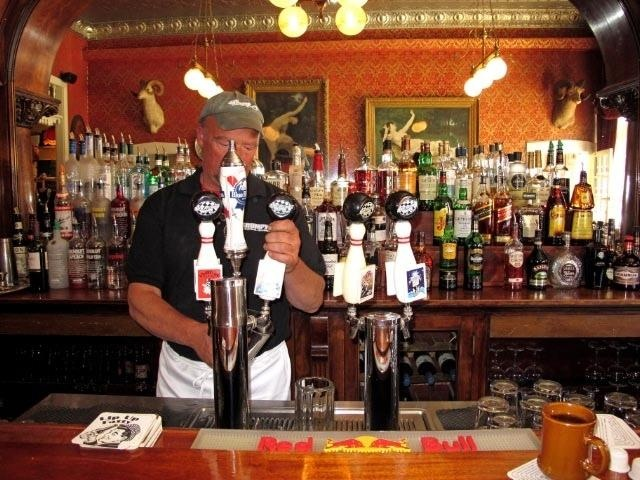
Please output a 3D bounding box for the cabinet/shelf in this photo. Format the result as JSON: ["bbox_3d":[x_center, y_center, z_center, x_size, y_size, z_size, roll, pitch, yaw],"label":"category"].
[{"bbox_3d":[0.426,0.502,2.556,0.646,0.601,0.203,0,1,-1],"label":"cabinet/shelf"}]

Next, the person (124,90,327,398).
[{"bbox_3d":[-0.410,0.044,2.352,0.865,1.321,0.991,2,1,0],"label":"person"}]

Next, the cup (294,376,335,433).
[{"bbox_3d":[-0.026,0.509,1.819,0.141,0.119,0.131,2,1,0],"label":"cup"}]

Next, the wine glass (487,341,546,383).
[{"bbox_3d":[1.082,0.669,3.185,0.299,0.240,0.127,0,-1,-10],"label":"wine glass"}]

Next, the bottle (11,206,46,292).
[{"bbox_3d":[-1.709,0.054,3.375,0.154,0.458,0.411,2,1,-36],"label":"bottle"}]

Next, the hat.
[{"bbox_3d":[-0.333,-0.515,2.339,0.161,0.116,0.221,-2,13,-41],"label":"hat"}]
